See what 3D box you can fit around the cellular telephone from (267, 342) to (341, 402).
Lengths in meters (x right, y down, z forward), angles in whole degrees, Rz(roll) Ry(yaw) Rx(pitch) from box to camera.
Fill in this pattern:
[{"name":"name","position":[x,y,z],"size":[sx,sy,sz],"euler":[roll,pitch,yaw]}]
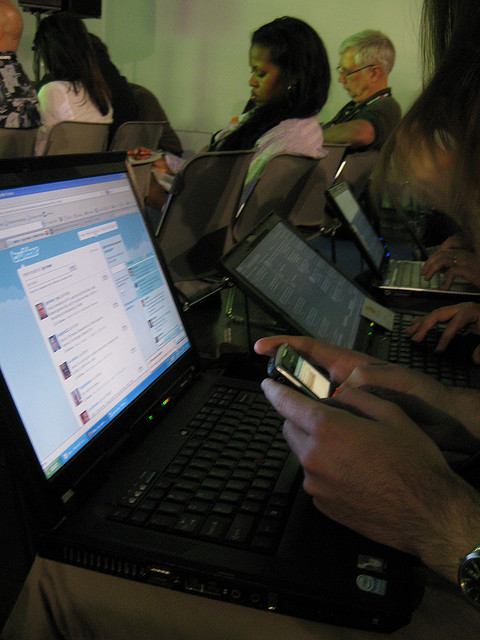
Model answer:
[{"name":"cellular telephone","position":[0.067,0.076,0.592],"size":[0.096,0.022,0.054],"euler":[36,32,0]}]

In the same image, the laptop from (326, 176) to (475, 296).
[{"name":"laptop","position":[0.488,-0.242,1.651],"size":[0.514,0.335,0.460],"euler":[3,23,14]}]

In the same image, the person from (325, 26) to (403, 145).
[{"name":"person","position":[0.973,-1.815,3.778],"size":[0.563,0.718,1.018],"euler":[1,33,8]}]

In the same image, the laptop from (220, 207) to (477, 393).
[{"name":"laptop","position":[0.223,-0.013,1.045],"size":[0.549,0.186,0.382],"euler":[11,24,15]}]
